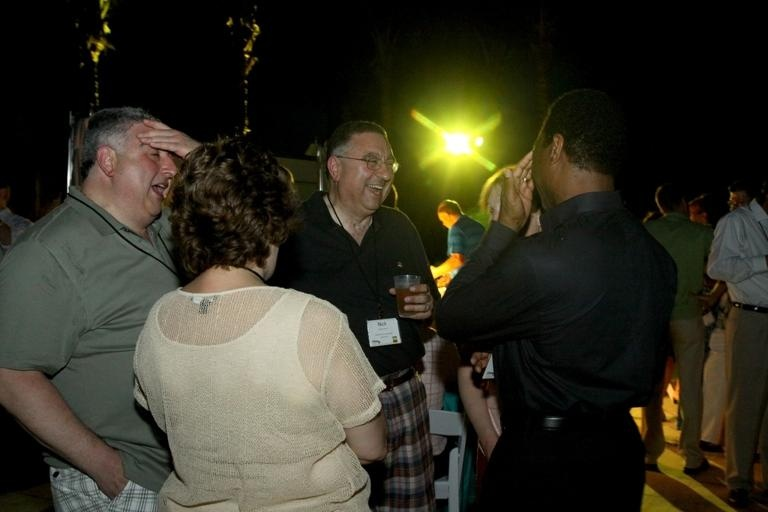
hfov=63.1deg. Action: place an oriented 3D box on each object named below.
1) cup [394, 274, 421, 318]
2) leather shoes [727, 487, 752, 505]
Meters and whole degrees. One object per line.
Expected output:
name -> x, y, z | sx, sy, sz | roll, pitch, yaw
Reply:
cup -> 0.129, 0.240, 3.883 | 0.156, 0.253, 0.150 | 6, 4, 0
leather shoes -> 2.882, 1.904, 5.057 | 0.177, 0.144, 0.138 | -5, 4, -7
